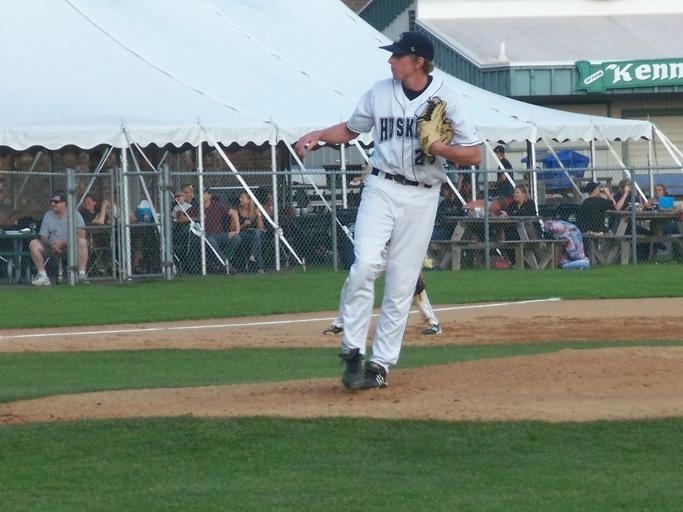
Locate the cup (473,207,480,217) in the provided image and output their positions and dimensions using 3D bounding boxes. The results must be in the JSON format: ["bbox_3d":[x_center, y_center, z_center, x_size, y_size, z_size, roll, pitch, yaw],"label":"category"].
[{"bbox_3d":[2.615,-0.842,31.833,0.149,0.153,0.276,3,4,9],"label":"cup"}]

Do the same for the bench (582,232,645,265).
[{"bbox_3d":[5.281,-0.157,32.355,0.755,0.474,0.662,1,1,34],"label":"bench"}]

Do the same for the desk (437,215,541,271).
[{"bbox_3d":[2.838,-0.247,31.684,1.336,0.667,1.301,2,4,19],"label":"desk"}]

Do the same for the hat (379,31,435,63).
[{"bbox_3d":[0.891,-2.728,21.236,0.528,0.293,0.380,3,12,-7],"label":"hat"}]

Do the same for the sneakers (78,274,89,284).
[{"bbox_3d":[-4.684,0.418,29.874,0.128,0.182,0.054,5,-9,-36],"label":"sneakers"}]

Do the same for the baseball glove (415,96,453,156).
[{"bbox_3d":[1.180,-1.683,21.087,0.436,0.739,0.296,-6,8,-14],"label":"baseball glove"}]

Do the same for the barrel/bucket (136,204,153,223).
[{"bbox_3d":[-3.695,-0.774,31.292,0.242,0.382,0.407,2,-13,-5],"label":"barrel/bucket"}]

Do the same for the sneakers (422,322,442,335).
[{"bbox_3d":[1.377,1.078,24.507,0.348,0.253,0.120,2,7,10],"label":"sneakers"}]

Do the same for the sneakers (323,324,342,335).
[{"bbox_3d":[-0.141,1.096,24.465,0.231,0.112,0.286,-1,3,-2],"label":"sneakers"}]

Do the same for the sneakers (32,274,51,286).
[{"bbox_3d":[-5.399,0.433,29.661,0.389,0.286,0.140,3,6,8],"label":"sneakers"}]
